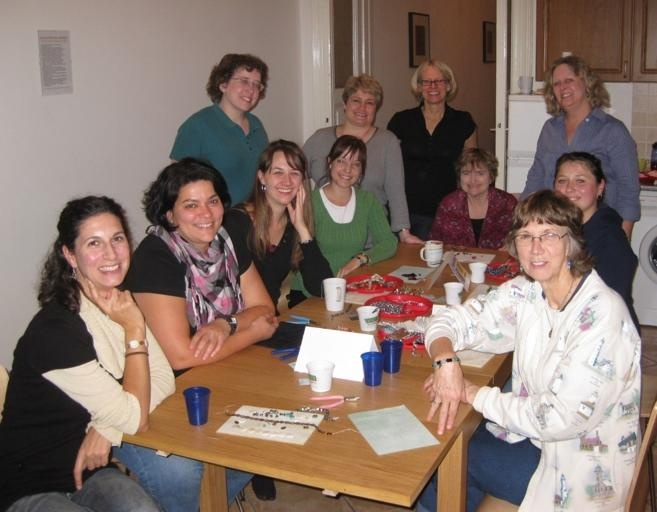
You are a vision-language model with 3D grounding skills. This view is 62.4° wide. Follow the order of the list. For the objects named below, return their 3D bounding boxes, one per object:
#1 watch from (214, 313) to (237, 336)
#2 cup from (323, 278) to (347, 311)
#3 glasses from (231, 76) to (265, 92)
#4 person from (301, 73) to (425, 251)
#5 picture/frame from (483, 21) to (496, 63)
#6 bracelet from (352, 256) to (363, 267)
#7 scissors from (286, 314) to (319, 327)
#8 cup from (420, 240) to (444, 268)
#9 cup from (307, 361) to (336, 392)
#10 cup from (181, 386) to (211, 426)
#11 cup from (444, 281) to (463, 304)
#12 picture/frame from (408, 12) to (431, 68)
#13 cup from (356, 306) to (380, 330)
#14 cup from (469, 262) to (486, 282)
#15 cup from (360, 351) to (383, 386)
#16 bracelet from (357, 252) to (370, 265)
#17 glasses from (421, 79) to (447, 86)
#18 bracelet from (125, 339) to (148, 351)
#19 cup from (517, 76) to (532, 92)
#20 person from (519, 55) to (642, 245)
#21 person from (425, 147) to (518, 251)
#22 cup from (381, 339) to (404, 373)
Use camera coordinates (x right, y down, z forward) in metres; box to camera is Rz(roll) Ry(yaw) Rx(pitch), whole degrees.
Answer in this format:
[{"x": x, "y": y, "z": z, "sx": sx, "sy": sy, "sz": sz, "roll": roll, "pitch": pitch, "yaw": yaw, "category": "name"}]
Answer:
[{"x": -0.426, "y": 0.282, "z": 2.245, "sx": 0.083, "sy": 0.049, "sz": 0.064, "roll": 15, "pitch": 17, "yaw": 38, "category": "watch"}, {"x": 0.043, "y": 0.190, "z": 2.508, "sx": 0.079, "sy": 0.118, "sz": 0.121, "roll": 5, "pitch": 7, "yaw": -8, "category": "cup"}, {"x": -0.490, "y": -1.102, "z": 3.458, "sx": 0.076, "sy": 0.084, "sz": 0.214, "roll": 4, "pitch": 16, "yaw": 38, "category": "glasses"}, {"x": 0.197, "y": -0.668, "z": 3.954, "sx": 0.846, "sy": 1.261, "sz": 0.663, "roll": 0, "pitch": 25, "yaw": 0, "category": "person"}, {"x": 2.698, "y": -3.629, "z": 9.131, "sx": 0.043, "sy": 0.648, "sz": 0.529, "roll": 6, "pitch": 18, "yaw": 36, "category": "picture/frame"}, {"x": 0.161, "y": 0.020, "z": 3.084, "sx": 0.045, "sy": 0.046, "sz": 0.046, "roll": 4, "pitch": -3, "yaw": -38, "category": "bracelet"}, {"x": -0.116, "y": 0.286, "z": 2.384, "sx": 0.148, "sy": 0.029, "sz": 0.045, "roll": 5, "pitch": 27, "yaw": 30, "category": "scissors"}, {"x": 0.596, "y": -0.023, "z": 3.168, "sx": 0.160, "sy": 0.163, "sz": 0.105, "roll": -11, "pitch": 20, "yaw": -35, "category": "cup"}, {"x": -0.028, "y": 0.413, "z": 1.858, "sx": 0.096, "sy": 0.085, "sz": 0.103, "roll": 1, "pitch": 5, "yaw": 0, "category": "cup"}, {"x": -0.399, "y": 0.455, "z": 1.696, "sx": 0.100, "sy": 0.108, "sz": 0.102, "roll": -1, "pitch": 14, "yaw": 0, "category": "cup"}, {"x": 0.574, "y": 0.165, "z": 2.504, "sx": 0.084, "sy": 0.086, "sz": 0.093, "roll": 0, "pitch": 4, "yaw": 9, "category": "cup"}, {"x": 1.197, "y": -2.870, "z": 7.183, "sx": 0.045, "sy": 0.665, "sz": 0.545, "roll": 7, "pitch": 21, "yaw": 33, "category": "picture/frame"}, {"x": 0.165, "y": 0.261, "z": 2.315, "sx": 0.088, "sy": 0.088, "sz": 0.094, "roll": -1, "pitch": -1, "yaw": 0, "category": "cup"}, {"x": 0.771, "y": 0.082, "z": 2.806, "sx": 0.090, "sy": 0.094, "sz": 0.101, "roll": 2, "pitch": 9, "yaw": 4, "category": "cup"}, {"x": 0.149, "y": 0.384, "z": 1.855, "sx": 0.094, "sy": 0.105, "sz": 0.102, "roll": -1, "pitch": 1, "yaw": 0, "category": "cup"}, {"x": 0.200, "y": 0.007, "z": 3.144, "sx": 0.059, "sy": 0.047, "sz": 0.052, "roll": 0, "pitch": 9, "yaw": 1, "category": "bracelet"}, {"x": 0.801, "y": -1.331, "z": 4.125, "sx": 0.178, "sy": 0.055, "sz": 0.053, "roll": -3, "pitch": 13, "yaw": 13, "category": "glasses"}, {"x": -0.638, "y": 0.294, "z": 1.797, "sx": 0.049, "sy": 0.033, "sz": 0.051, "roll": -7, "pitch": -6, "yaw": 17, "category": "bracelet"}, {"x": 1.835, "y": -1.618, "z": 5.059, "sx": 0.105, "sy": 0.167, "sz": 0.169, "roll": 0, "pitch": 5, "yaw": 2, "category": "cup"}, {"x": 1.720, "y": -0.540, "z": 3.800, "sx": 0.425, "sy": 1.696, "sz": 0.826, "roll": -32, "pitch": 30, "yaw": -32, "category": "person"}, {"x": 1.052, "y": -0.395, "z": 3.818, "sx": 0.693, "sy": 0.693, "sz": 0.416, "roll": 2, "pitch": 10, "yaw": 21, "category": "person"}, {"x": 0.224, "y": 0.354, "z": 1.978, "sx": 0.103, "sy": 0.110, "sz": 0.108, "roll": -2, "pitch": 7, "yaw": 0, "category": "cup"}]
